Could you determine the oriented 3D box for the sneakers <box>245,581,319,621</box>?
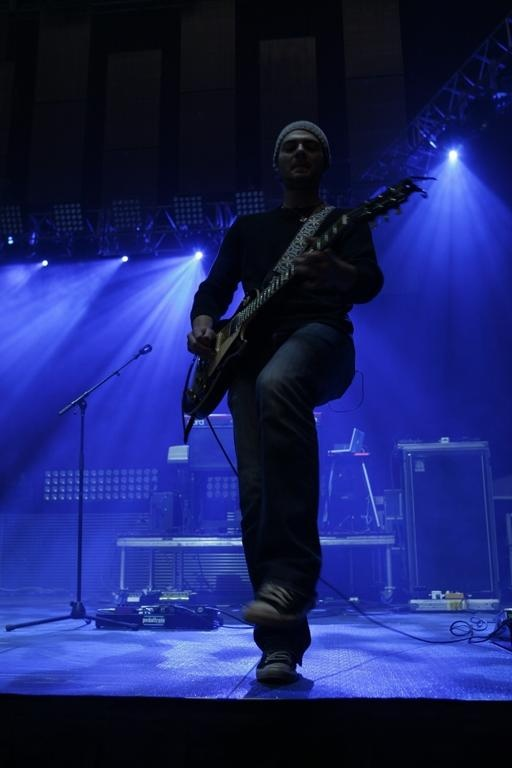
[{"bbox_3d":[0.054,0.506,1.702,0.063,0.071,0.186,-34,-34,30],"label":"sneakers"}]

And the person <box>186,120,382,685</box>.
[{"bbox_3d":[0.087,-0.089,2.103,0.562,1.680,0.713,1,-8,-6],"label":"person"}]

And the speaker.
[{"bbox_3d":[1.460,1.017,5.592,0.661,1.181,0.356,-1,-8,8],"label":"speaker"}]

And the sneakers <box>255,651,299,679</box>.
[{"bbox_3d":[0.047,0.661,1.709,0.096,0.057,0.143,0,-8,2],"label":"sneakers"}]
